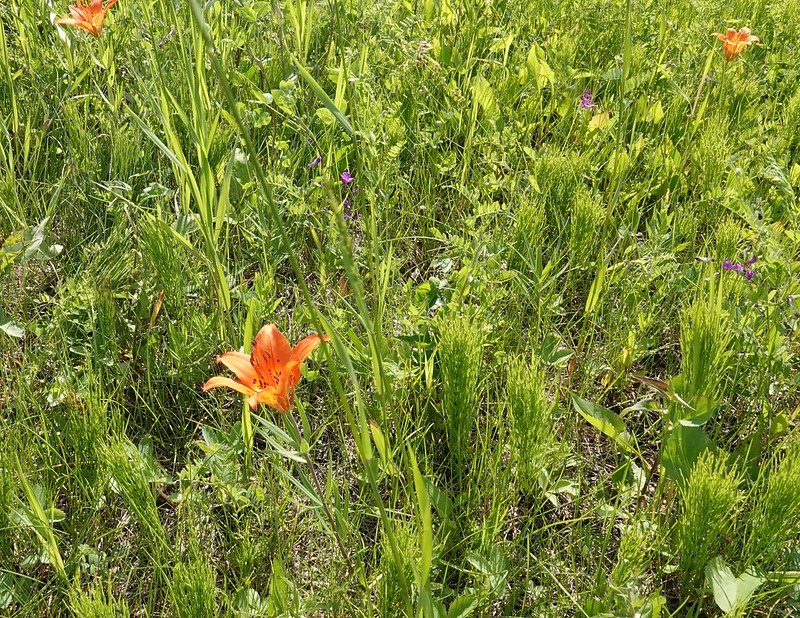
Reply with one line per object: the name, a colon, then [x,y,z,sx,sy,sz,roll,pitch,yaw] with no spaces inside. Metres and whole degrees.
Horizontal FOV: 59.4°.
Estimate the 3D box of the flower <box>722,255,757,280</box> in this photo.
flower: [1.127,-0.129,2.322,0.102,0.083,0.127,-9,-7,30]
